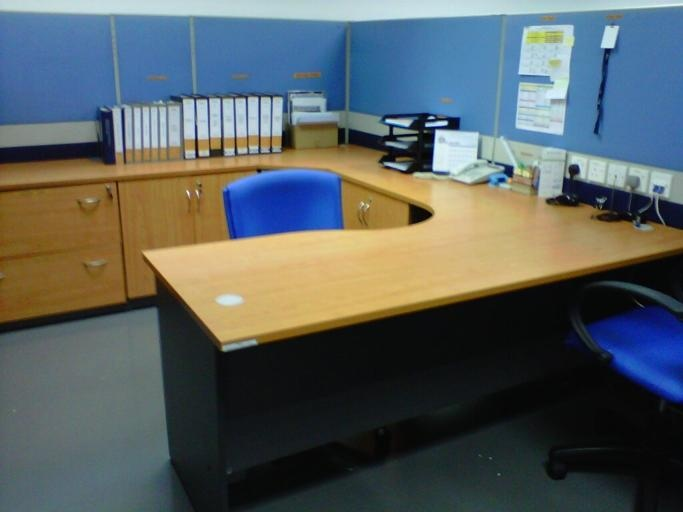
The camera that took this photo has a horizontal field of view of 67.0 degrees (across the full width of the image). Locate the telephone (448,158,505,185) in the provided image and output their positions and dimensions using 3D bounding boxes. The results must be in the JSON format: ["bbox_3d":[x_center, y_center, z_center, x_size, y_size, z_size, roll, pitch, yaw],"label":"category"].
[{"bbox_3d":[0.835,-0.508,3.116,0.232,0.085,0.173,-17,28,-25],"label":"telephone"}]

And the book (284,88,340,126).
[{"bbox_3d":[-0.237,-1.189,4.120,0.389,0.259,0.254,-6,21,-12],"label":"book"}]
